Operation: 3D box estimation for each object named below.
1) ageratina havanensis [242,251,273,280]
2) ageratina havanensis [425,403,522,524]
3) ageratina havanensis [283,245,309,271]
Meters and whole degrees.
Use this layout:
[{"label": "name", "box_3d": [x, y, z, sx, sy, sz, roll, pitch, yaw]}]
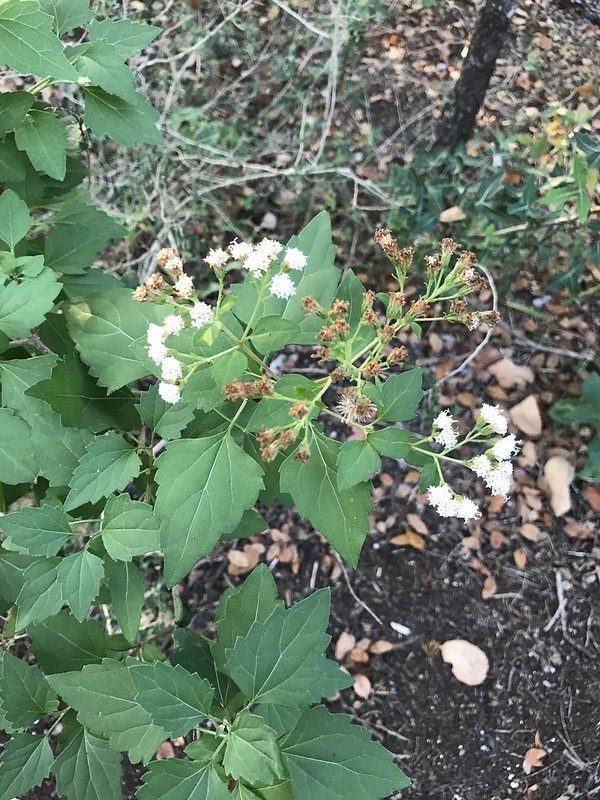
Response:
[{"label": "ageratina havanensis", "box_3d": [-0.098, -0.302, 1.674, 0.060, 0.068, 0.050, 19, 35, 0]}, {"label": "ageratina havanensis", "box_3d": [0.521, 0.205, 2.214, 0.235, 0.382, 0.372, 13, 54, -3]}, {"label": "ageratina havanensis", "box_3d": [-0.013, -0.328, 1.742, 0.048, 0.054, 0.069, 15, 34, -5]}]
